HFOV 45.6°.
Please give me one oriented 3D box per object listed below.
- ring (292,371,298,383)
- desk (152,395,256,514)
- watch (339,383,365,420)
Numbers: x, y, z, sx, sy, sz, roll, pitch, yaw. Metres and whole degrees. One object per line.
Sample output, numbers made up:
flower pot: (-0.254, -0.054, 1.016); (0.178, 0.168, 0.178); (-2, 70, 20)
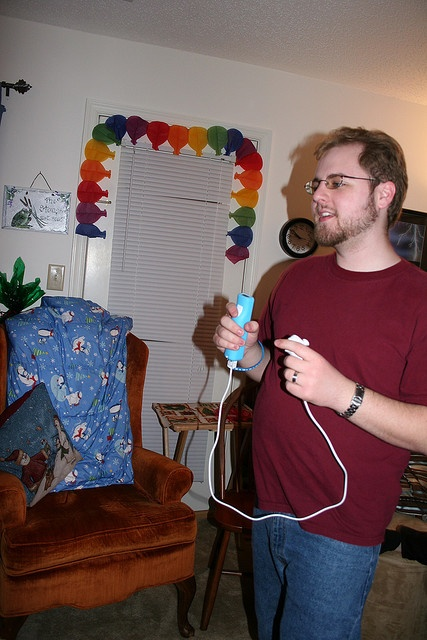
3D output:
ring: (0.152, 0.108, 0.960); (0.013, 0.020, 0.014); (6, 16, 3)
desk: (-0.008, 0.658, 2.545); (0.441, 0.401, 0.407); (4, -11, -34)
watch: (0.265, 0.156, 0.974); (0.038, 0.069, 0.020); (8, 7, 14)
